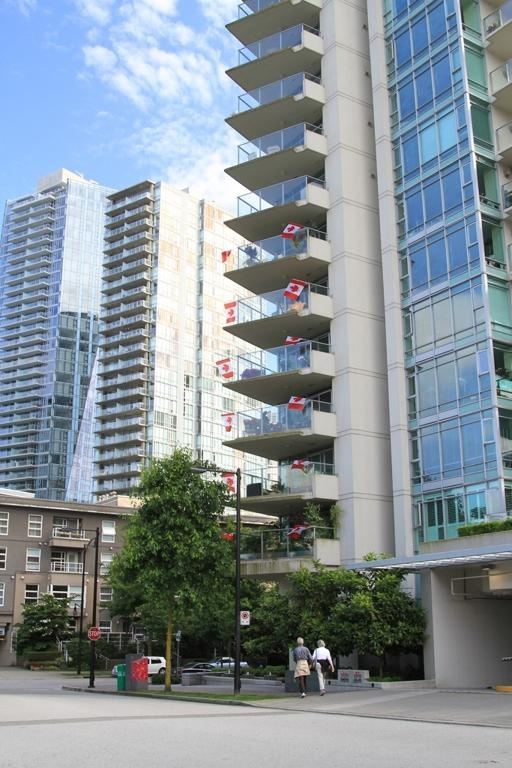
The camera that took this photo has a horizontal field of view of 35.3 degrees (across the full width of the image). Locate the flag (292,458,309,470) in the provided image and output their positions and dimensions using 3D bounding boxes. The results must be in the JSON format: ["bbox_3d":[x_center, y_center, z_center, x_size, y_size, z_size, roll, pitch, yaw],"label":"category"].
[{"bbox_3d":[1.960,3.521,35.390,0.502,0.483,0.198,-3,20,5],"label":"flag"}]

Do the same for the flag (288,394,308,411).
[{"bbox_3d":[1.918,0.807,36.537,1.042,1.096,0.181,6,-60,15],"label":"flag"}]

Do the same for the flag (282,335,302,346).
[{"bbox_3d":[1.773,-2.165,38.949,0.730,0.202,0.585,-12,-52,-4],"label":"flag"}]

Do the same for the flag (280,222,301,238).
[{"bbox_3d":[1.599,-7.272,38.090,1.128,0.748,0.498,-13,-20,34],"label":"flag"}]

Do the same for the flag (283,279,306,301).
[{"bbox_3d":[1.730,-4.322,37.186,1.096,1.077,0.563,-14,-21,36],"label":"flag"}]

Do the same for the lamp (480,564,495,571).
[{"bbox_3d":[7.370,5.809,25.589,0.285,0.196,0.823,-2,-16,2],"label":"lamp"}]
